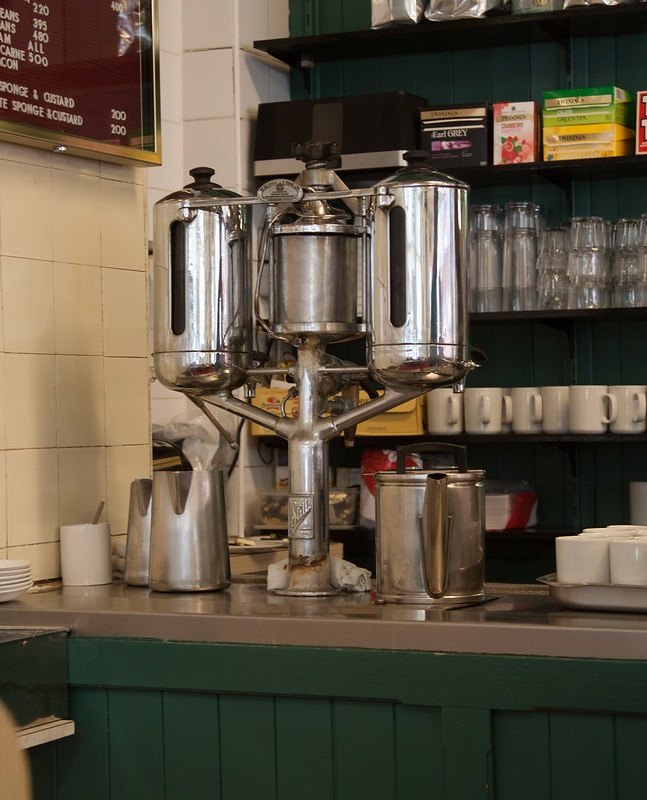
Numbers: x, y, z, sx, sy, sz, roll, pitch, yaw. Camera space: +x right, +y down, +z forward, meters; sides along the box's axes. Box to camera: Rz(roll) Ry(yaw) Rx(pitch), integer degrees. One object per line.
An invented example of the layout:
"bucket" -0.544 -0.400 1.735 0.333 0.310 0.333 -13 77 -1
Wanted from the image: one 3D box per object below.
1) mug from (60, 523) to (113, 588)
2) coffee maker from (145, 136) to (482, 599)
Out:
"mug" -0.438 0.279 2.047 0.116 0.117 0.113 -2 -3 25
"coffee maker" -0.030 -0.054 1.896 0.579 0.732 0.219 0 4 28
